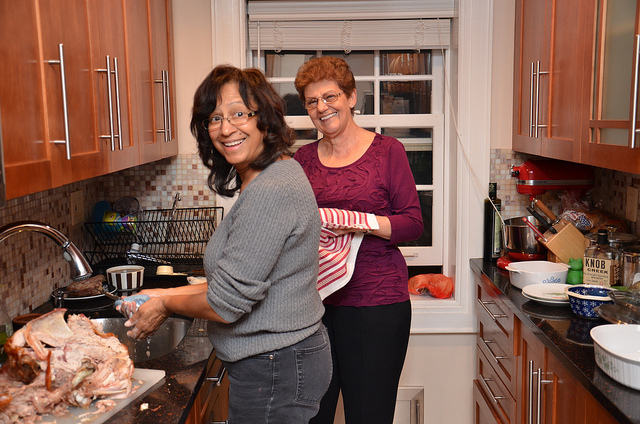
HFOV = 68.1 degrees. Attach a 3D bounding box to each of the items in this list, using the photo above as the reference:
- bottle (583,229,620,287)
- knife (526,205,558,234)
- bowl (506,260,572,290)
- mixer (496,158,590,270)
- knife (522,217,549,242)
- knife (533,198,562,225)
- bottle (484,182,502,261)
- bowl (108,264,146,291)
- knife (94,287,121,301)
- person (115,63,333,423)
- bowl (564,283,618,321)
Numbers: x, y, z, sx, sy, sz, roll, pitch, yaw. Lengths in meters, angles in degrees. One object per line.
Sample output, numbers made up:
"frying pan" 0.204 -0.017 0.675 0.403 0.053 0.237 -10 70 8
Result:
"bottle" 1.226 0.200 2.071 0.109 0.234 0.150 -6 9 -37
"knife" 1.148 0.045 2.469 0.043 0.164 0.037 -42 14 8
"bowl" 1.055 0.312 2.296 0.250 0.131 0.222 -2 7 -13
"mixer" 1.208 -0.056 2.702 0.388 0.663 0.503 -3 11 -14
"knife" 1.121 0.096 2.469 0.022 0.153 0.022 -23 -24 -37
"knife" 1.150 -0.009 2.418 0.077 0.141 0.077 -45 -4 21
"bottle" 1.025 0.109 2.791 0.108 0.363 0.055 -2 7 -7
"bowl" -0.939 0.308 2.288 0.123 0.066 0.117 1 6 0
"knife" -0.974 0.374 2.154 0.187 0.031 0.013 18 27 40
"person" -0.239 0.115 1.469 0.467 1.119 0.386 4 8 33
"bowl" 1.081 0.354 1.912 0.155 0.073 0.159 -1 2 0
